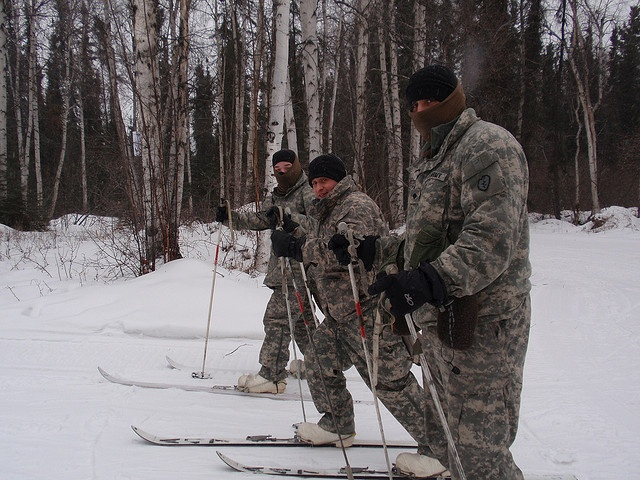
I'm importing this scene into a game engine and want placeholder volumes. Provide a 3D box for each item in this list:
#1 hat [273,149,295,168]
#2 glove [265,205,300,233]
[{"bbox_3d":[-0.654,-1.501,11.986,0.323,0.255,0.333,-1,14,30],"label":"hat"},{"bbox_3d":[-0.640,-0.344,11.190,0.548,0.251,0.367,36,2,-15],"label":"glove"}]
